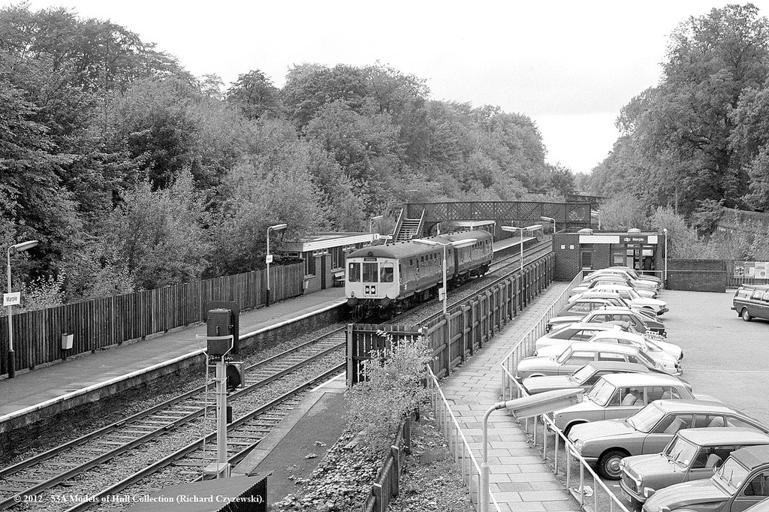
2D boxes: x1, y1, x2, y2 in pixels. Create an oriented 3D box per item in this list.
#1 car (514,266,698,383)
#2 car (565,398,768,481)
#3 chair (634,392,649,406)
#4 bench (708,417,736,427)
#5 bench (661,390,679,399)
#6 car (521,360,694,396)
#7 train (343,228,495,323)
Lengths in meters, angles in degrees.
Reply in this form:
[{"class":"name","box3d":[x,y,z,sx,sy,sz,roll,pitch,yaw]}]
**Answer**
[{"class":"car","box3d":[10.190,3.087,35.624,6.050,2.753,3.631,-3,15,3]},{"class":"car","box3d":[7.640,4.988,22.089,5.634,1.913,2.413,-2,3,-3]},{"class":"chair","box3d":[7.852,4.391,23.342,0.217,0.402,0.406,7,2,21]},{"class":"bench","box3d":[9.366,4.578,21.246,0.725,0.248,0.176,-1,5,3]},{"class":"bench","box3d":[8.698,4.212,23.308,0.451,0.182,0.111,0,5,20]},{"class":"car","box3d":[7.099,3.895,25.553,4.932,1.593,2.059,-2,1,1]},{"class":"train","box3d":[2.832,0.582,54.459,3.278,5.043,22.474,0,4,22]}]
